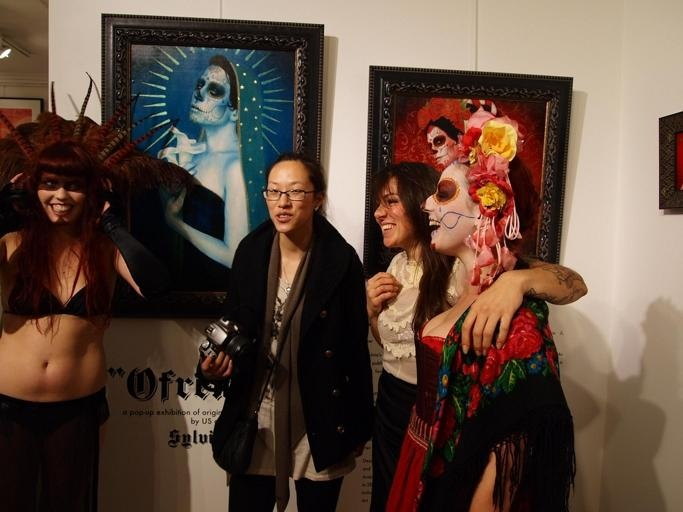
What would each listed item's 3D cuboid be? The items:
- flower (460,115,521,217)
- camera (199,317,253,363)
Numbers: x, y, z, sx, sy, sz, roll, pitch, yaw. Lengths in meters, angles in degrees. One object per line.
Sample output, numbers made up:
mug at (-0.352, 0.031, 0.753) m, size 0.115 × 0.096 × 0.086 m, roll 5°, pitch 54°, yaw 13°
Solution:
flower at (0.570, -0.375, 2.057) m, size 0.223 × 0.195 × 0.383 m, roll 26°, pitch -8°, yaw 39°
camera at (-0.502, 0.356, 2.314) m, size 0.164 × 0.180 × 0.180 m, roll 22°, pitch -35°, yaw 5°
